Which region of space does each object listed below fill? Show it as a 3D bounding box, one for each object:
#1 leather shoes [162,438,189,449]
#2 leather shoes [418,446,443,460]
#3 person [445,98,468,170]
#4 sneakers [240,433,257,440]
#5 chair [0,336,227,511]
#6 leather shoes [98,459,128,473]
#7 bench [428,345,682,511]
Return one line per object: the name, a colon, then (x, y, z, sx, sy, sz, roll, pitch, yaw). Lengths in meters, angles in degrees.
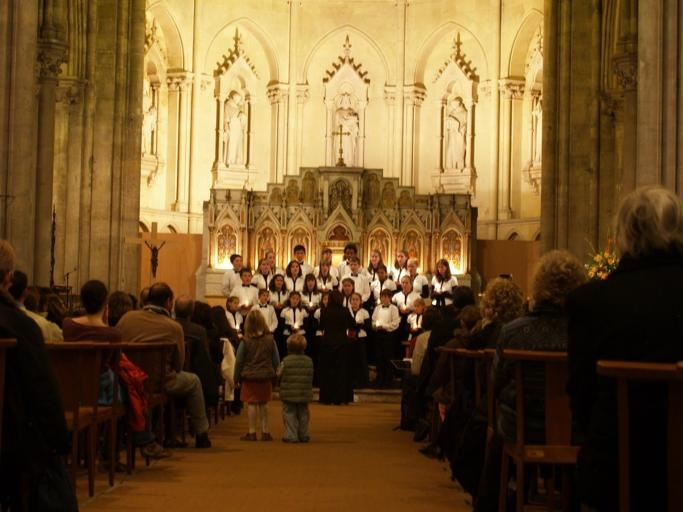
leather shoes: (-1.771, 1.999, 10.358, 0.260, 0.139, 0.106, 0, -6, -2)
leather shoes: (0.924, 2.036, 10.142, 0.141, 0.068, 0.129, 11, 24, 35)
person: (3.076, -3.295, 26.411, 0.692, 2.028, 0.233, -1, -1, 39)
sneakers: (-1.051, 2.032, 10.959, 0.195, 0.094, 0.076, 3, 0, 25)
chair: (-1.979, 1.278, 7.599, 0.946, 1.110, 1.053, 1, 1, 17)
leather shoes: (-2.089, 1.966, 9.037, 0.192, 0.089, 0.305, 3, -14, 10)
bench: (1.480, 1.001, 6.120, 1.182, 1.415, 0.934, 0, 4, 2)
